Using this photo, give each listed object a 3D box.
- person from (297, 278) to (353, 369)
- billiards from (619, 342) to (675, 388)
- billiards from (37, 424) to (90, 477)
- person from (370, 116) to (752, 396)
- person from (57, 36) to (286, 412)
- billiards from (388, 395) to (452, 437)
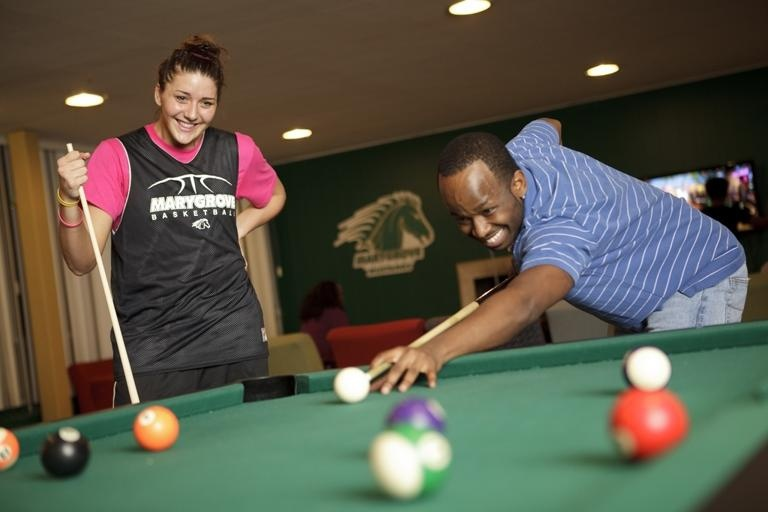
[{"bbox_3d":[-0.551,0.608,5.626,0.400,0.797,0.422,3,4,-6],"label":"person"},{"bbox_3d":[0.749,0.306,1.720,0.118,0.110,0.137,-3,-3,25],"label":"billiards"},{"bbox_3d":[-0.847,0.522,1.611,0.107,0.115,0.091,-3,8,27],"label":"billiards"},{"bbox_3d":[0.690,-0.171,2.633,1.153,1.277,1.061,-34,33,12],"label":"person"},{"bbox_3d":[-1.032,-0.079,2.935,0.861,1.806,0.808,-1,8,-24],"label":"person"},{"bbox_3d":[0.093,0.405,1.580,0.138,0.090,0.136,0,1,-13],"label":"billiards"}]
